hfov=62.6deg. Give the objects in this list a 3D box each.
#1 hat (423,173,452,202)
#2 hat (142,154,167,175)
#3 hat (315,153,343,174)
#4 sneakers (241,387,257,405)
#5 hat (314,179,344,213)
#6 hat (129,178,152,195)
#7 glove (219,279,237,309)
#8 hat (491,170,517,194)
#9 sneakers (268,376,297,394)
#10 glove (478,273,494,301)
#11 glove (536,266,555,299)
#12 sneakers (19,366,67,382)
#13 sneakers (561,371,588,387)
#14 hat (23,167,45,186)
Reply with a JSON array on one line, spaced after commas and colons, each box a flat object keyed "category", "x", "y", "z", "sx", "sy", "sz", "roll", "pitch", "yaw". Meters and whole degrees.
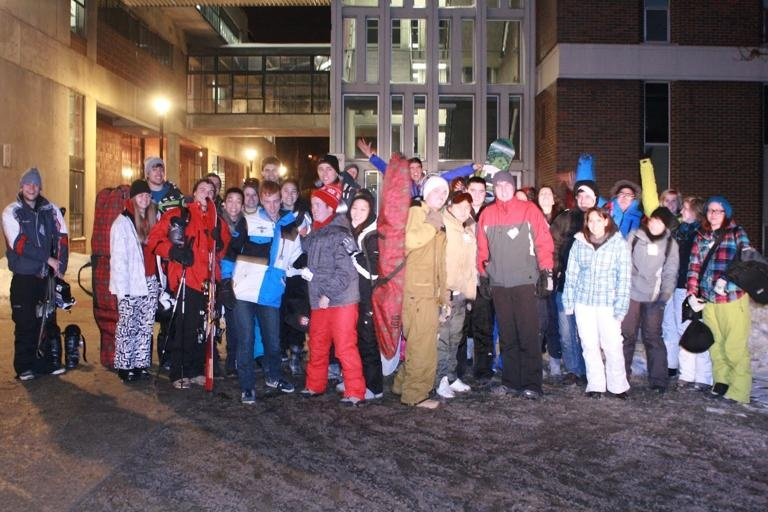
[{"category": "hat", "x": 0.764, "y": -1.001, "z": 9.143, "sx": 0.278, "sy": 0.389, "sz": 0.375, "roll": 5, "pitch": -4, "yaw": -29}, {"category": "hat", "x": -3.635, "y": -1.440, "z": 10.060, "sx": 0.280, "sy": 0.291, "sz": 0.291, "roll": -5, "pitch": 15, "yaw": -19}, {"category": "hat", "x": -0.903, "y": -1.475, "z": 10.308, "sx": 0.282, "sy": 0.338, "sz": 0.348, "roll": 4, "pitch": -32, "yaw": 4}, {"category": "sneakers", "x": -1.874, "y": 1.945, "z": 8.814, "sx": 0.193, "sy": 0.140, "sz": 0.310, "roll": -2, "pitch": 15, "yaw": -11}, {"category": "hat", "x": -0.793, "y": -0.889, "z": 9.056, "sx": 0.421, "sy": 0.337, "sz": 0.329, "roll": 27, "pitch": 3, "yaw": -36}, {"category": "hat", "x": -3.633, "y": -1.029, "z": 9.460, "sx": 0.273, "sy": 0.268, "sz": 0.296, "roll": -5, "pitch": 16, "yaw": -22}, {"category": "glove", "x": -2.185, "y": 0.533, "z": 8.863, "sx": 0.200, "sy": 0.400, "sz": 0.099, "roll": -1, "pitch": 0, "yaw": 11}, {"category": "hat", "x": 1.817, "y": -1.132, "z": 9.647, "sx": 0.306, "sy": 0.358, "sz": 0.435, "roll": 0, "pitch": 6, "yaw": 13}, {"category": "sneakers", "x": -1.508, "y": 1.871, "z": 9.264, "sx": 0.446, "sy": 0.212, "sz": 0.185, "roll": 4, "pitch": 4, "yaw": 15}, {"category": "glove", "x": 1.492, "y": 0.437, "z": 9.504, "sx": 0.130, "sy": 0.367, "sz": 0.267, "roll": -8, "pitch": 16, "yaw": -32}, {"category": "glove", "x": 2.354, "y": 0.398, "z": 9.302, "sx": 0.230, "sy": 0.398, "sz": 0.180, "roll": 2, "pitch": 14, "yaw": 7}, {"category": "sneakers", "x": -5.162, "y": 1.739, "z": 9.595, "sx": 0.528, "sy": 0.224, "sz": 0.182, "roll": -6, "pitch": 6, "yaw": -39}, {"category": "sneakers", "x": 2.934, "y": 1.922, "z": 9.796, "sx": 0.439, "sy": 0.160, "sz": 0.188, "roll": 8, "pitch": 22, "yaw": 32}, {"category": "hat", "x": -5.343, "y": -1.218, "z": 9.627, "sx": 0.240, "sy": 0.284, "sz": 0.329, "roll": 19, "pitch": -3, "yaw": -41}]
